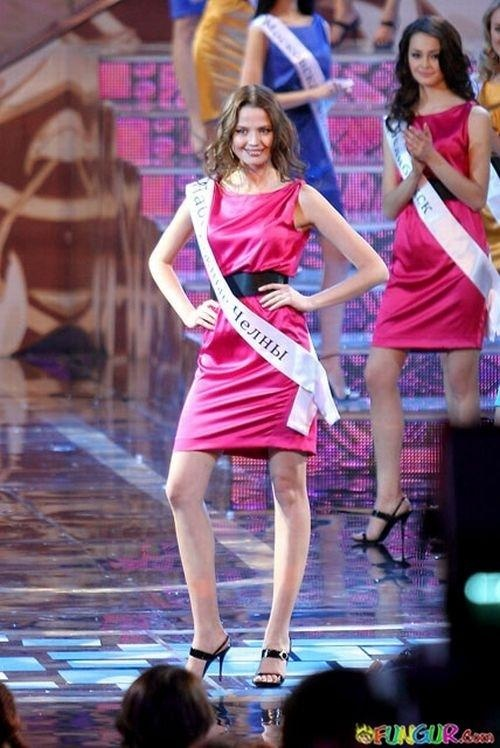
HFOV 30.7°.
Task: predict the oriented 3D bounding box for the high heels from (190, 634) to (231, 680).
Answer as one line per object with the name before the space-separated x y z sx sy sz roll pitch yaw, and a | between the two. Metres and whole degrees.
high heels | -0.090 0.640 2.074 0.071 0.091 0.123 -1 -2 23
